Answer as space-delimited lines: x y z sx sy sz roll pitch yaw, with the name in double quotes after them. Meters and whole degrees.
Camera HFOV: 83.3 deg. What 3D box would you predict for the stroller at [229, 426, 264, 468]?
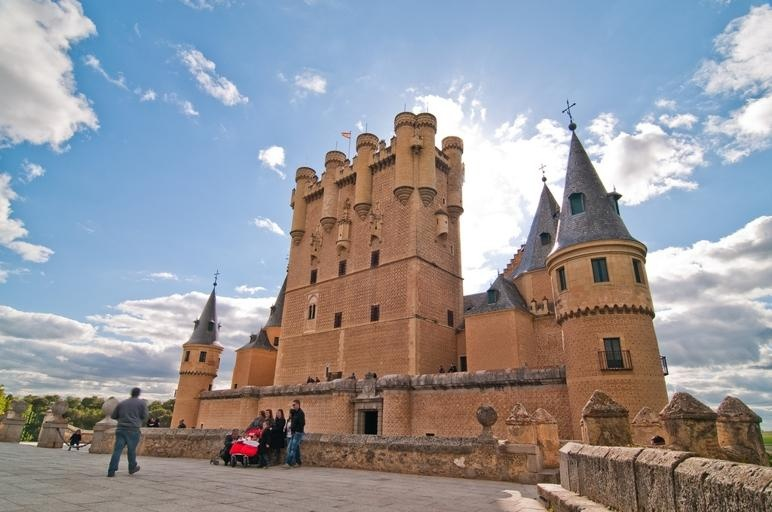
-3.799 5.238 11.947 0.758 0.871 1.551 3 -13 0 "stroller"
